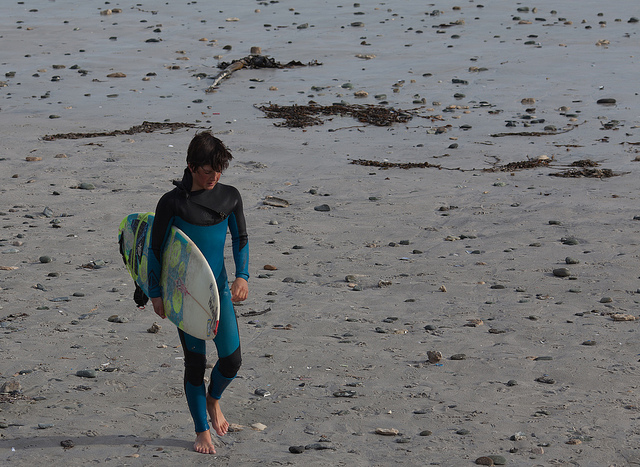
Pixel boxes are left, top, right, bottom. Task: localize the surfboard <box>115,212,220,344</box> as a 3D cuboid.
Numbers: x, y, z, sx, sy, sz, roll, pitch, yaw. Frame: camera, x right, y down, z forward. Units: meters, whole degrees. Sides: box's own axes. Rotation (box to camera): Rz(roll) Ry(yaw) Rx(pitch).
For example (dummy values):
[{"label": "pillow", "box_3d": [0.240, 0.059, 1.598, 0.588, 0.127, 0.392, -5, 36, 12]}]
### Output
[{"label": "surfboard", "box_3d": [-1.356, 0.376, 7.480, 0.495, 1.070, 1.271, -17, 24, -34]}]
